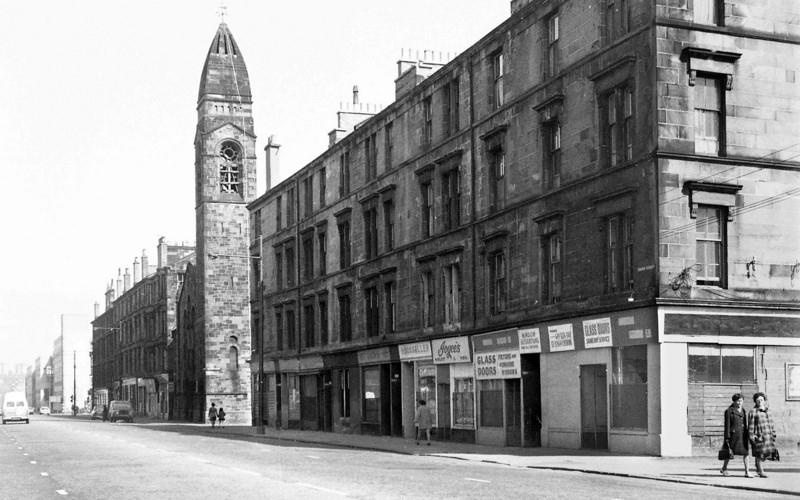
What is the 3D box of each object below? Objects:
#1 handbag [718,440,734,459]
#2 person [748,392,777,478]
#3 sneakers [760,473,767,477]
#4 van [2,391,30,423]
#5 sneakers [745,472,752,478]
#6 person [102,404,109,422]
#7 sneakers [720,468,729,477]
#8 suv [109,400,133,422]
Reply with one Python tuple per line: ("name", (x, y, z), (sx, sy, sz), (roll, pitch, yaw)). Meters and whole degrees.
("handbag", (11.861, 7.362, 48.340), (0.383, 0.683, 0.636), (5, -16, -25))
("person", (13.277, 6.761, 48.550), (0.937, 3.174, 1.112), (-5, -14, 13))
("sneakers", (13.204, 8.191, 48.046), (0.320, 0.159, 0.277), (4, -15, -21))
("van", (-32.906, 13.394, 112.845), (1.862, 1.867, 3.488), (0, -3, -17))
("sneakers", (12.733, 8.191, 48.074), (0.249, 0.171, 0.641), (-10, -16, 29))
("person", (-27.178, 15.053, 121.674), (0.513, 1.494, 2.701), (2, -15, -13))
("sneakers", (11.836, 8.167, 48.441), (0.189, 0.197, 0.491), (1, -13, -12))
("suv", (-24.116, 13.855, 113.736), (1.551, 1.313, 2.550), (3, -12, -16))
